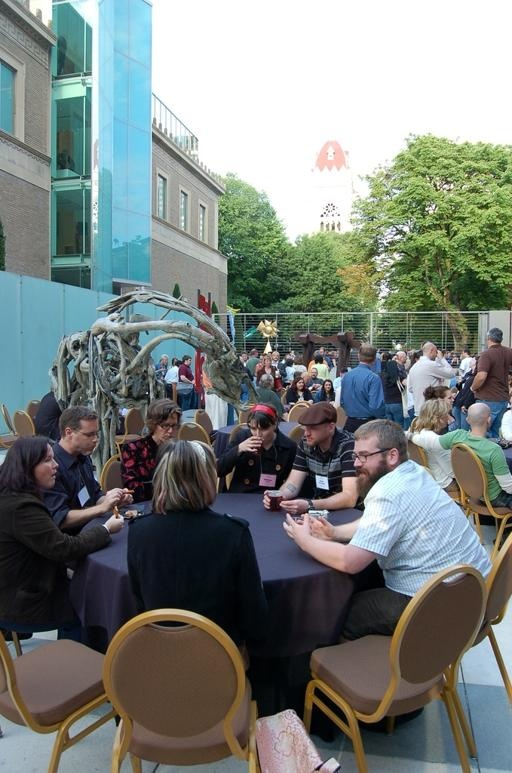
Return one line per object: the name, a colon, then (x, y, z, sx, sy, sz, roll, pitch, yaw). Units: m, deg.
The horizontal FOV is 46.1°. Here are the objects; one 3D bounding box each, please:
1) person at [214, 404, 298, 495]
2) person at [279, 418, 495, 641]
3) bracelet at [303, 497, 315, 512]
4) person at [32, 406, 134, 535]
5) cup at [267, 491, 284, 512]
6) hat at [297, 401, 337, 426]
person: (0.040, 0.505, 3.803, 0.474, 0.774, 0.423, 4, 8, -8)
person: (0.560, 0.558, 2.778, 0.936, 1.250, 0.648, -2, 3, 16)
bracelet: (0.269, 0.595, 3.023, 0.039, 0.058, 0.054, 0, 5, -12)
person: (-0.889, 0.486, 3.079, 0.435, 0.718, 0.476, 3, 2, 0)
cup: (0.092, 0.577, 3.020, 0.083, 0.089, 0.087, -2, -2, 0)
hat: (0.338, 0.147, 3.230, 0.174, 0.086, 0.120, -1, 5, -26)
